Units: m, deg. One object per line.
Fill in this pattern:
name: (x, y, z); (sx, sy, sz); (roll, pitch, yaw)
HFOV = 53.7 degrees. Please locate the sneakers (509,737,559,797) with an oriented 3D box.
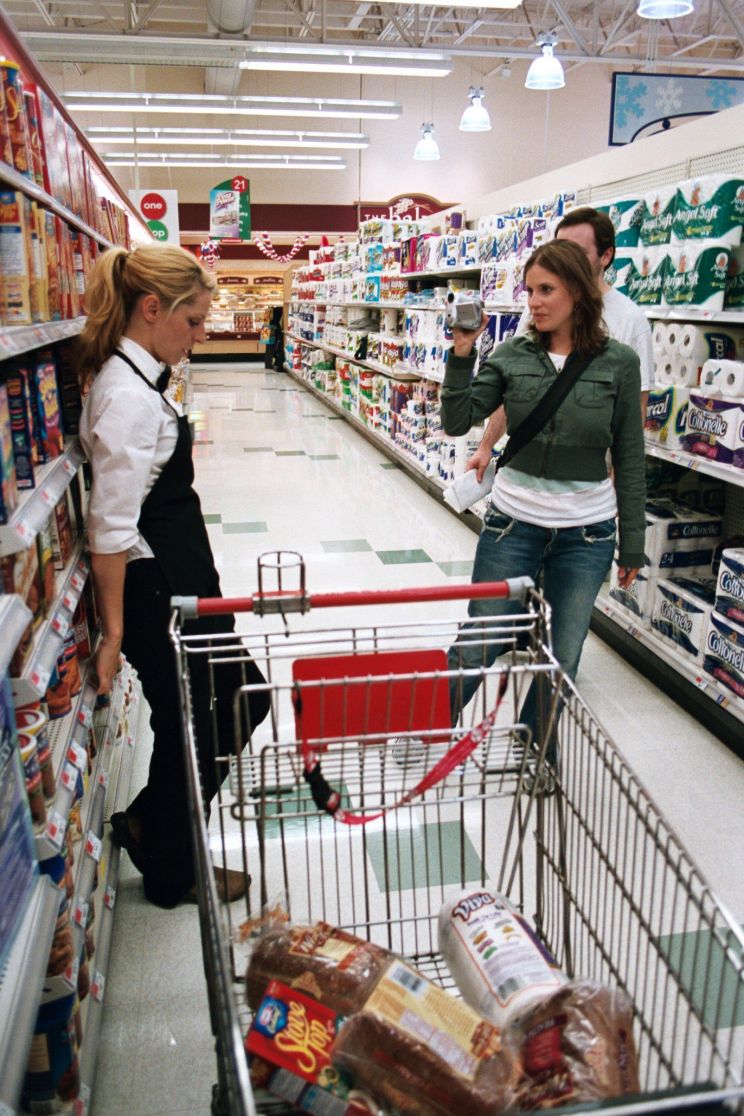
sneakers: (0.270, 0.367, 1.233); (0.067, 0.135, 0.038); (10, 46, 42)
